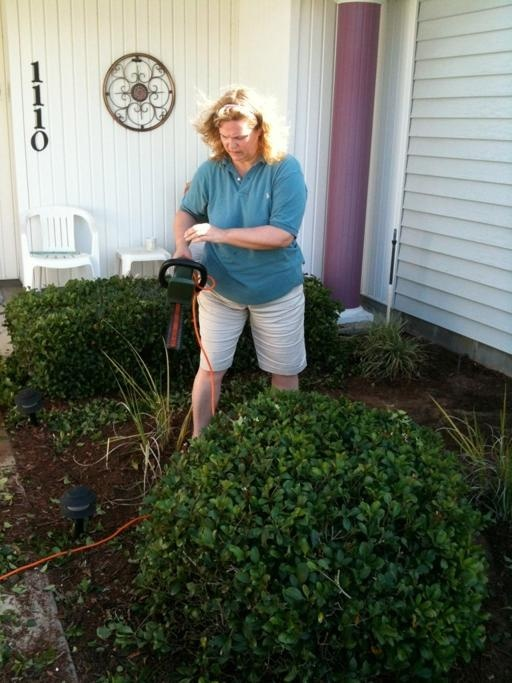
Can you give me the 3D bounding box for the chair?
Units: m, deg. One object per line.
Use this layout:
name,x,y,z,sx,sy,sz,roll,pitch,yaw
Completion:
chair,-2.044,-0.897,5.572,0.703,0.828,0.608,-4,7,-26

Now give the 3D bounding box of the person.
person,-0.080,-0.281,2.379,0.596,1.531,0.558,0,21,6
